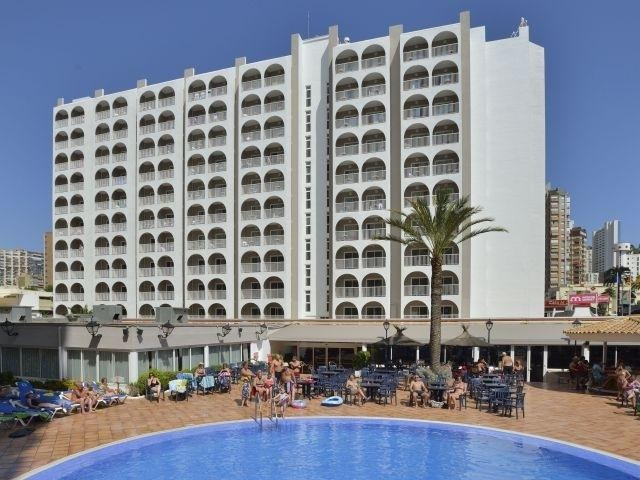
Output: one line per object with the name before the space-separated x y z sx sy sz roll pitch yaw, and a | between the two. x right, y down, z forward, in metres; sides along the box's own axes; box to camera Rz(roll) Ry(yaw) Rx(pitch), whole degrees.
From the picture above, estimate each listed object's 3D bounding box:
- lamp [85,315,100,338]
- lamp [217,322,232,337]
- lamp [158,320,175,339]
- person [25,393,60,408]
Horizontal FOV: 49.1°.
lamp | -15.013 5.799 45.872 1.276 0.988 0.822 -9 -12 34
lamp | -7.200 6.781 52.492 0.826 0.953 0.396 9 -18 6
lamp | -10.498 6.038 47.272 0.980 1.507 1.077 1 1 6
person | -16.258 9.387 40.847 1.532 0.761 0.894 3 -4 9
